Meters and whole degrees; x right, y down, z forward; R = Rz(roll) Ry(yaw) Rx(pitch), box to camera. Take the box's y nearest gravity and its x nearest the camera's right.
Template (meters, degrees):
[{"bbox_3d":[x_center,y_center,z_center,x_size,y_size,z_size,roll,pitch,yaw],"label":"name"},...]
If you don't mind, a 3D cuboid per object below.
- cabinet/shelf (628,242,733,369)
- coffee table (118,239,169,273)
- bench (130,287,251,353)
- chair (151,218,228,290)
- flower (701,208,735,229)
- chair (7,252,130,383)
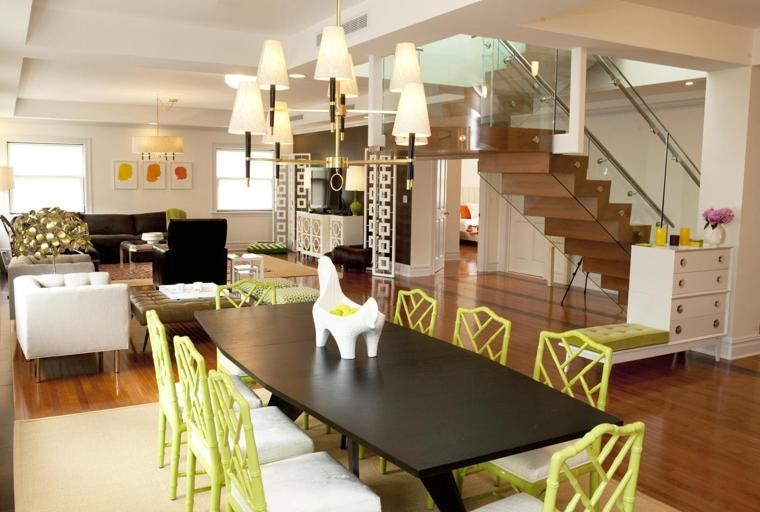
[{"bbox_3d":[3.365,0.514,6.255,0.982,1.216,0.704,-3,7,-20],"label":"cabinet/shelf"},{"bbox_3d":[-4.908,-0.087,11.291,0.891,0.592,1.250,-3,8,-21],"label":"coffee table"},{"bbox_3d":[-2.393,0.742,6.757,1.216,0.863,0.404,-4,14,5],"label":"bench"},{"bbox_3d":[-2.925,0.012,8.295,1.031,1.197,1.158,-2,11,-25],"label":"chair"},{"bbox_3d":[3.834,-0.417,6.155,0.259,0.186,0.258,0,6,26],"label":"flower"},{"bbox_3d":[-3.237,0.725,5.726,0.911,0.953,1.059,-5,13,-39],"label":"chair"}]
